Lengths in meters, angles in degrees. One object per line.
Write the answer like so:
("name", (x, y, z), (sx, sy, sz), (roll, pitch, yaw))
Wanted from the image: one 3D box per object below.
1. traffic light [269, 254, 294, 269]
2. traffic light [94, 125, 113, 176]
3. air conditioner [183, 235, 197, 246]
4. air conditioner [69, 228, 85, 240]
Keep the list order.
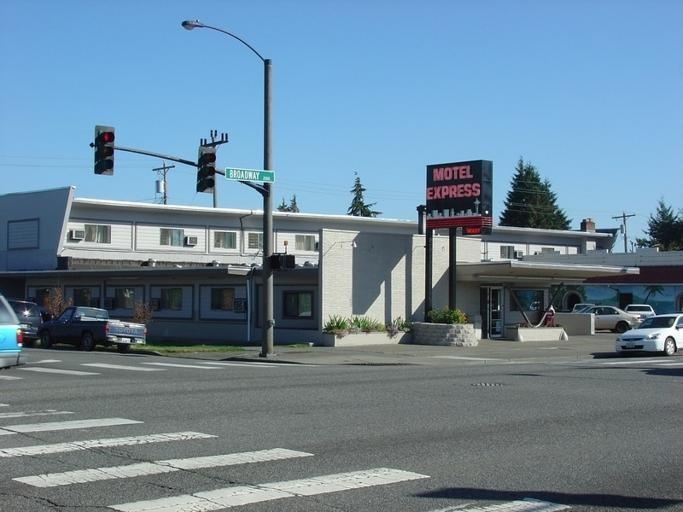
("traffic light", (-1.939, 0.158, 31.896), (0.885, 0.451, 0.602), (-1, -1, -6))
("traffic light", (-6.657, -2.981, 27.058), (0.533, 1.479, 1.007), (1, -4, -17))
("air conditioner", (-8.979, -0.900, 57.517), (0.931, 0.628, 0.487), (2, -5, -41))
("air conditioner", (-14.687, -1.202, 53.624), (0.529, 0.616, 0.919), (-6, -8, 34))
